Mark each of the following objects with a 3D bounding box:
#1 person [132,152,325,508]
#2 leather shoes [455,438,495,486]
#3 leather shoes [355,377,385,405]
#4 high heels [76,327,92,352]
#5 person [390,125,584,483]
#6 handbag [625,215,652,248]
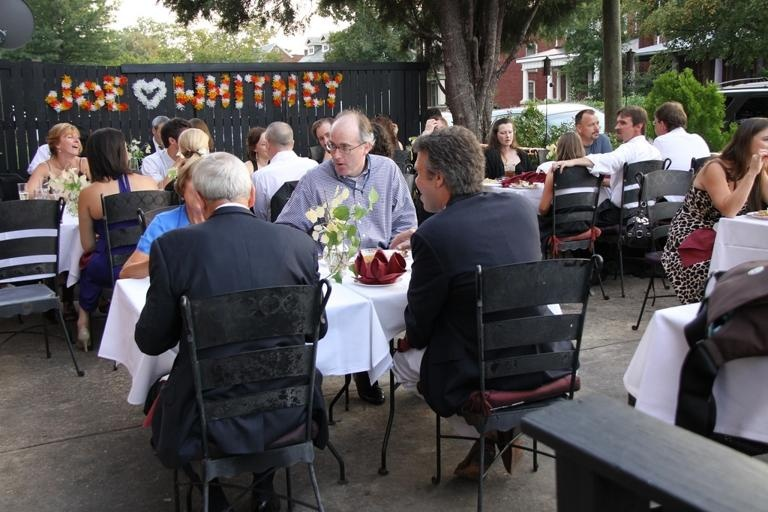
[{"bbox_3d":[-0.768,0.485,3.324,0.936,1.988,0.544,-7,12,-24],"label":"person"},{"bbox_3d":[0.575,1.187,3.897,0.185,0.120,0.323,7,49,49],"label":"leather shoes"},{"bbox_3d":[-0.113,1.012,4.887,0.120,0.164,0.362,-6,3,-25],"label":"leather shoes"},{"bbox_3d":[-2.737,0.720,5.877,0.081,0.131,0.282,-11,54,1],"label":"high heels"},{"bbox_3d":[0.499,0.338,3.644,0.863,2.098,0.645,-3,11,0],"label":"person"},{"bbox_3d":[2.674,-0.254,6.847,0.239,0.337,0.296,4,7,5],"label":"handbag"}]
